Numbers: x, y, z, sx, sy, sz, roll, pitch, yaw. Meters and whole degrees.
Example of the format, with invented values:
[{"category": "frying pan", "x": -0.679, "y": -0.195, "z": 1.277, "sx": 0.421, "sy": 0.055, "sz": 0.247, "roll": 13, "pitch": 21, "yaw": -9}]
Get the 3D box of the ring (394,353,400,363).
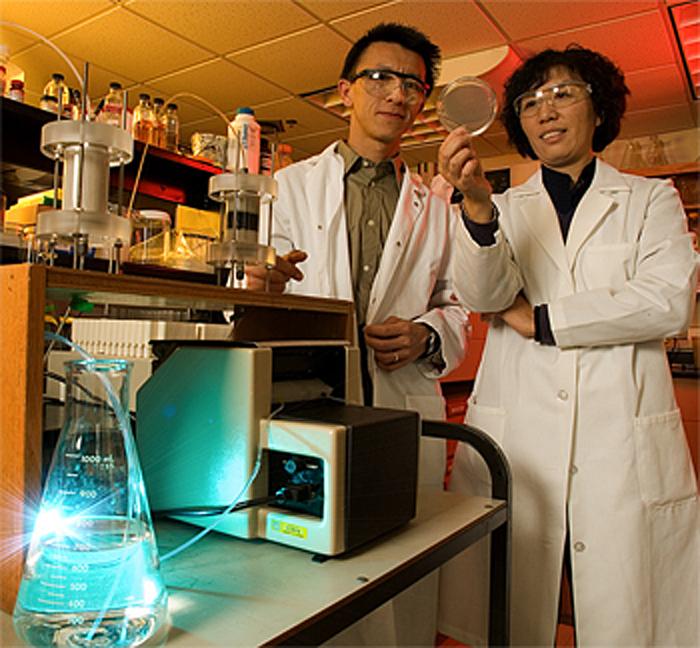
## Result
[{"category": "ring", "x": 0.109, "y": 0.081, "z": 1.520, "sx": 0.004, "sy": 0.018, "sz": 0.019, "roll": 4, "pitch": 2, "yaw": -11}]
